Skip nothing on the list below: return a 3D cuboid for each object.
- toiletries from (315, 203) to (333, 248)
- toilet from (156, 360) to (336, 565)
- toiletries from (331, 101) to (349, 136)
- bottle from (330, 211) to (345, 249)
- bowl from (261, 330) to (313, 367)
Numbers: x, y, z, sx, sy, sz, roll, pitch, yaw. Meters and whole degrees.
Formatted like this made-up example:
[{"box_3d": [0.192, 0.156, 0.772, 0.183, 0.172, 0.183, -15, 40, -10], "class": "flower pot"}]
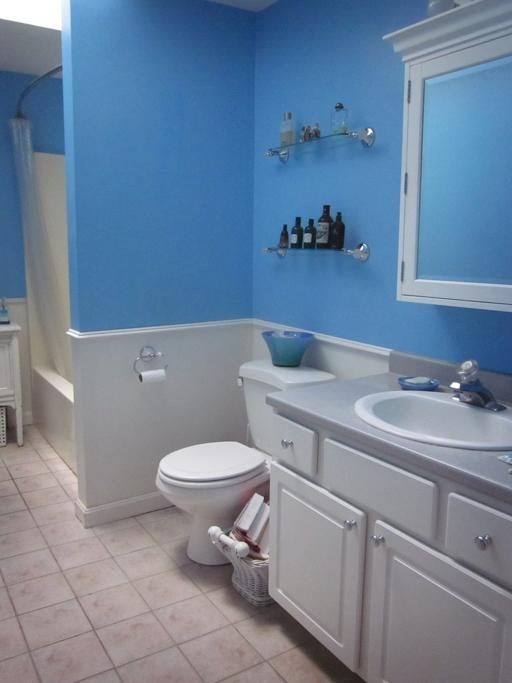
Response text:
[{"box_3d": [0.269, -0.452, 2.135, 0.063, 0.169, 0.077, 2, 8, 6], "class": "toiletries"}, {"box_3d": [-0.095, 0.475, 2.142, 0.677, 0.672, 0.387, -5, 13, -35], "class": "toilet"}, {"box_3d": [0.312, -0.827, 1.997, 0.060, 0.141, 0.144, 2, 8, 8], "class": "toiletries"}, {"box_3d": [0.318, -0.427, 2.092, 0.054, 0.144, 0.039, 2, 8, 7], "class": "bottle"}, {"box_3d": [0.130, 0.025, 2.244, 0.184, 0.112, 0.154, 1, -2, 15], "class": "bowl"}]
